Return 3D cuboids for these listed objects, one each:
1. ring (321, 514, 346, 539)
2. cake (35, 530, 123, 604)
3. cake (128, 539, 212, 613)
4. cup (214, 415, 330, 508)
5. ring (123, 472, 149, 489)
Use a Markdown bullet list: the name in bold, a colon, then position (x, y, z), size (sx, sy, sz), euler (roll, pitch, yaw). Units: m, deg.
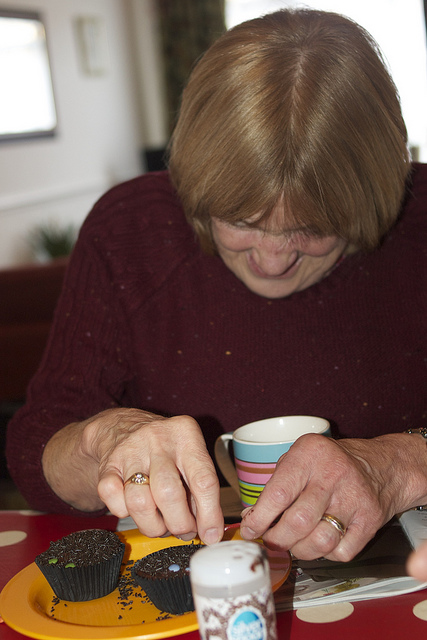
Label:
- **ring**: position (0.124, 0.212, 0.569), size (0.022, 0.009, 0.023), euler (22, 3, -1)
- **cake**: position (-0.149, 0.271, 0.614), size (0.077, 0.041, 0.075), euler (-5, 9, -35)
- **cake**: position (-0.040, 0.265, 0.564), size (0.069, 0.029, 0.073), euler (-14, 0, 1)
- **cup**: position (0.047, 0.193, 0.709), size (0.078, 0.081, 0.118), euler (3, -3, -40)
- **ring**: position (-0.076, 0.165, 0.560), size (0.029, 0.010, 0.033), euler (1, -7, 0)
